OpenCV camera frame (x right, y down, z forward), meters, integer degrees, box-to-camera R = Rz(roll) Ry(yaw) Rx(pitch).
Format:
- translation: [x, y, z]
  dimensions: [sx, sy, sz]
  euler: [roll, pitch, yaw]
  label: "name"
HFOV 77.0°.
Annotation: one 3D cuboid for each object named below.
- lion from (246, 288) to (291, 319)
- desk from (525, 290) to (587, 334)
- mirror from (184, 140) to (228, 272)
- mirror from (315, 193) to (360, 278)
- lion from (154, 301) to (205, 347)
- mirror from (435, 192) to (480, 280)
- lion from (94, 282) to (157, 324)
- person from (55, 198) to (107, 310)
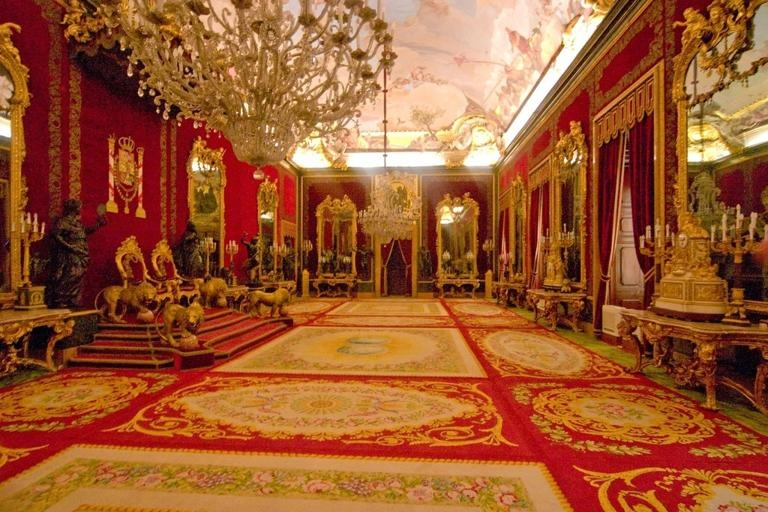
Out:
- translation: [-2.762, 1.131, 11.495]
  dimensions: [0.908, 0.735, 0.603]
  euler: [1, 8, 3]
  label: "lion"
- translation: [4.021, 1.230, 11.177]
  dimensions: [0.770, 0.764, 1.453]
  euler: [1, 2, -6]
  label: "desk"
- translation: [-4.439, -1.244, 12.082]
  dimensions: [0.358, 3.187, 0.711]
  euler: [4, 1, 38]
  label: "mirror"
- translation: [-1.816, -0.841, 18.880]
  dimensions: [1.594, 3.044, 0.830]
  euler: [-1, 8, -8]
  label: "mirror"
- translation: [-3.605, 1.201, 8.498]
  dimensions: [1.270, 0.771, 0.386]
  euler: [1, 0, 35]
  label: "lion"
- translation: [2.800, -0.715, 18.965]
  dimensions: [1.280, 3.706, 0.371]
  euler: [2, -1, 4]
  label: "mirror"
- translation: [-5.020, 0.888, 9.256]
  dimensions: [1.582, 0.691, 0.420]
  euler: [-2, 2, 17]
  label: "lion"
- translation: [-5.472, 0.001, 8.591]
  dimensions: [0.516, 1.949, 0.861]
  euler: [-2, -3, 21]
  label: "person"
